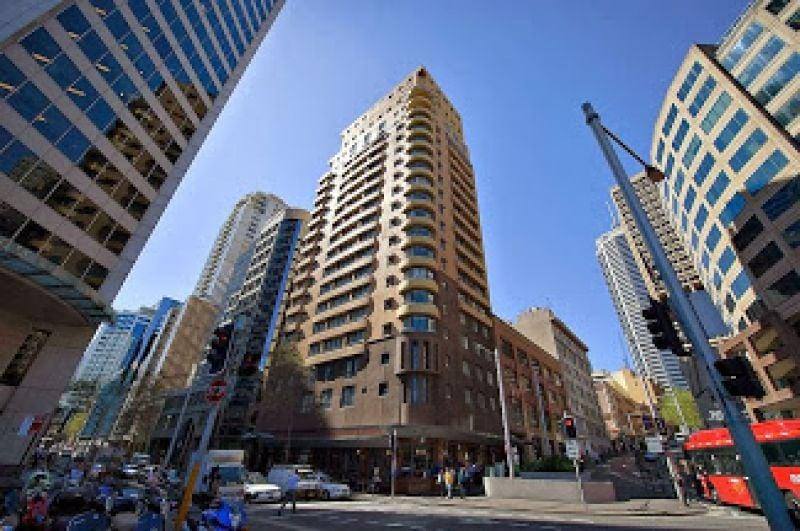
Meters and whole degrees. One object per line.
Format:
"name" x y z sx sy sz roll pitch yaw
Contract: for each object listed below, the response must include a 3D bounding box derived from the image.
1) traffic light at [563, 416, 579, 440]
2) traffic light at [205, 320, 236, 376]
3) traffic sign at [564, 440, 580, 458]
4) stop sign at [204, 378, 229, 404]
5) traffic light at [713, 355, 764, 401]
"traffic light" 12.485 12.019 28.860 0.938 1.533 0.697 -22 -38 32
"traffic light" -9.408 4.251 20.272 1.109 2.838 1.262 14 -34 -22
"traffic sign" 12.718 13.612 28.835 0.833 1.297 1.000 -12 -33 20
"stop sign" -9.422 6.309 20.025 0.858 1.366 1.031 13 -34 -20
"traffic light" 14.191 4.755 16.434 1.200 1.844 1.200 -21 -37 31
